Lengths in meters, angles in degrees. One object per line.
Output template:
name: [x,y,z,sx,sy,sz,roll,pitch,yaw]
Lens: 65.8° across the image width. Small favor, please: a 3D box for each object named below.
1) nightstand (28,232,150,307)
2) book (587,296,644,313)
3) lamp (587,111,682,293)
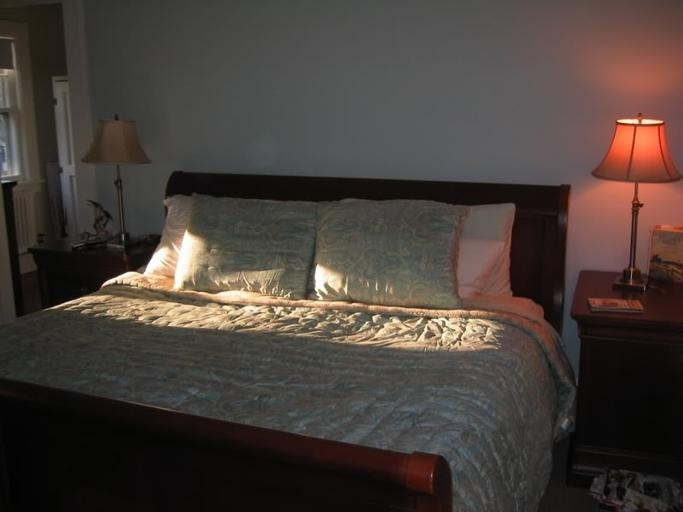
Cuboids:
nightstand: [-1.584,0.056,3.526,0.660,0.602,0.498,7,20,18]
book: [1.250,0.222,2.418,0.227,0.049,0.203,6,9,12]
lamp: [1.470,-0.288,2.690,0.386,0.871,0.435,8,11,23]
